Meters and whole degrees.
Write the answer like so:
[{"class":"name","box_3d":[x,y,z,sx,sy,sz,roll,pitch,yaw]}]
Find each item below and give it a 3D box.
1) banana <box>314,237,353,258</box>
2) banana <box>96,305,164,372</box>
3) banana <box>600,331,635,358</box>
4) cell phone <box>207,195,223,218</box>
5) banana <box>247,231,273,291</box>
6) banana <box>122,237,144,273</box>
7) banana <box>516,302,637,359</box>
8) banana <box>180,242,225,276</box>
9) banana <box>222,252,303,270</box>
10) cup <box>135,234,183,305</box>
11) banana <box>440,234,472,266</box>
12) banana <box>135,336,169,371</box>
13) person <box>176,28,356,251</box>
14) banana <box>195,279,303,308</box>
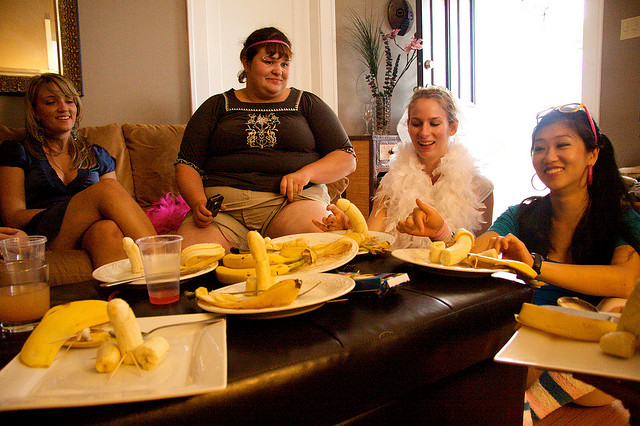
[{"class":"banana","box_3d":[0.045,0.114,1.447,0.075,0.028,0.021,-25,51,-12]},{"class":"banana","box_3d":[-0.425,0.287,0.999,0.097,0.064,0.180,-8,55,-20]},{"class":"banana","box_3d":[0.631,0.276,0.955,0.056,0.047,0.052,-13,-15,39]},{"class":"cell phone","box_3d":[-0.448,-0.030,1.914,0.068,0.086,0.046,-4,13,-10]},{"class":"banana","box_3d":[-0.158,0.129,1.193,0.052,0.199,0.041,-7,4,16]},{"class":"banana","box_3d":[-0.575,0.134,1.385,0.041,0.116,0.127,-8,14,-26]},{"class":"banana","box_3d":[0.567,0.255,0.993,0.127,0.031,0.126,15,-4,-12]},{"class":"banana","box_3d":[-0.377,0.137,1.430,0.103,0.037,0.090,-23,9,-17]},{"class":"banana","box_3d":[-0.163,0.145,1.329,0.152,0.033,0.050,2,35,13]},{"class":"cup","box_3d":[-0.444,0.171,1.285,0.152,0.175,0.143,-6,-7,-1]},{"class":"banana","box_3d":[0.409,0.116,1.372,0.129,0.082,0.052,-12,16,-39]},{"class":"banana","box_3d":[-0.369,0.308,0.989,0.061,0.063,0.077,14,5,11]},{"class":"person","box_3d":[-0.282,-0.215,2.293,0.946,1.417,0.702,0,8,2]},{"class":"banana","box_3d":[-0.177,0.211,1.164,0.253,0.082,0.069,0,-24,10]}]
